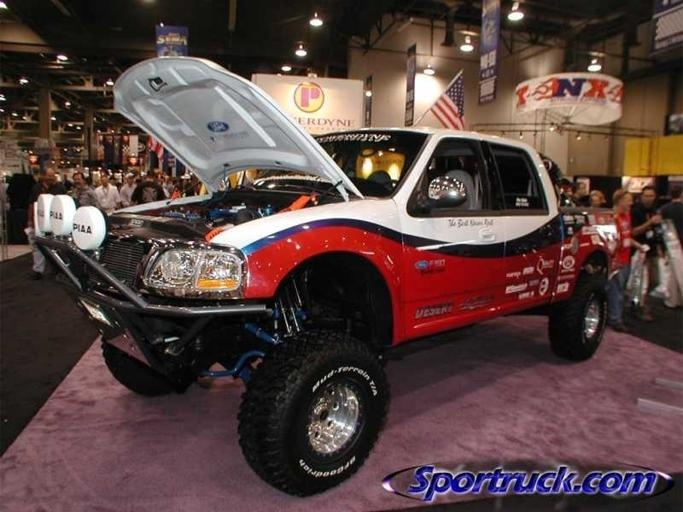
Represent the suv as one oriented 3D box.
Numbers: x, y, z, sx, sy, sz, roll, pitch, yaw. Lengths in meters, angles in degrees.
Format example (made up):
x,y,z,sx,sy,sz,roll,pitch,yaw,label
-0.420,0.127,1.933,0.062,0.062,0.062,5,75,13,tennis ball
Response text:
x,y,z,sx,sy,sz,roll,pitch,yaw,label
0.327,-0.043,5.169,5.781,2.500,2.588,-2,6,-39,suv
